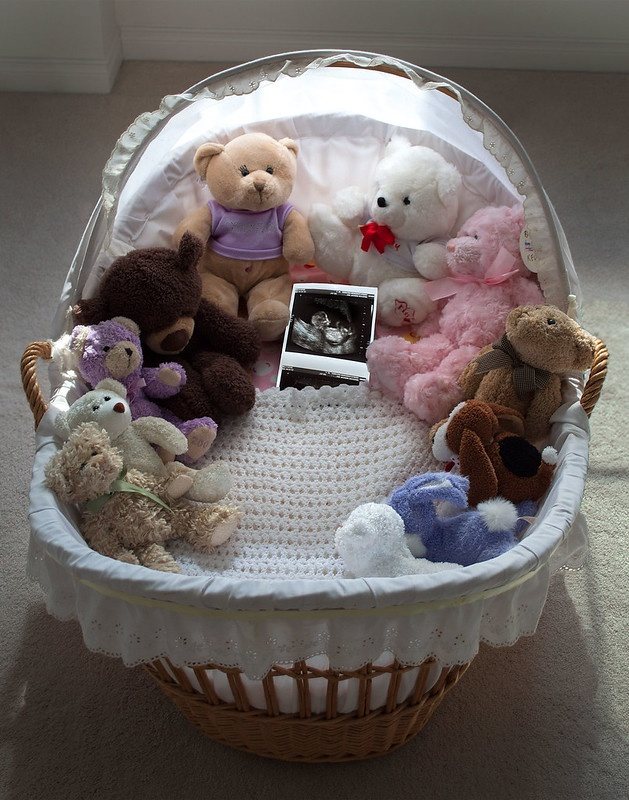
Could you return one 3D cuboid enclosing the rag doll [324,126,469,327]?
[{"bbox_3d":[0.189,-0.370,1.736,0.289,0.318,0.339,-30,62,-29],"label":"rag doll"}]

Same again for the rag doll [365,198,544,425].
[{"bbox_3d":[0.296,-0.203,1.644,0.404,0.383,0.290,-20,27,-17],"label":"rag doll"}]

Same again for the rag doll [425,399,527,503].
[{"bbox_3d":[0.286,0.100,1.412,0.181,0.213,0.185,-1,88,21],"label":"rag doll"}]
